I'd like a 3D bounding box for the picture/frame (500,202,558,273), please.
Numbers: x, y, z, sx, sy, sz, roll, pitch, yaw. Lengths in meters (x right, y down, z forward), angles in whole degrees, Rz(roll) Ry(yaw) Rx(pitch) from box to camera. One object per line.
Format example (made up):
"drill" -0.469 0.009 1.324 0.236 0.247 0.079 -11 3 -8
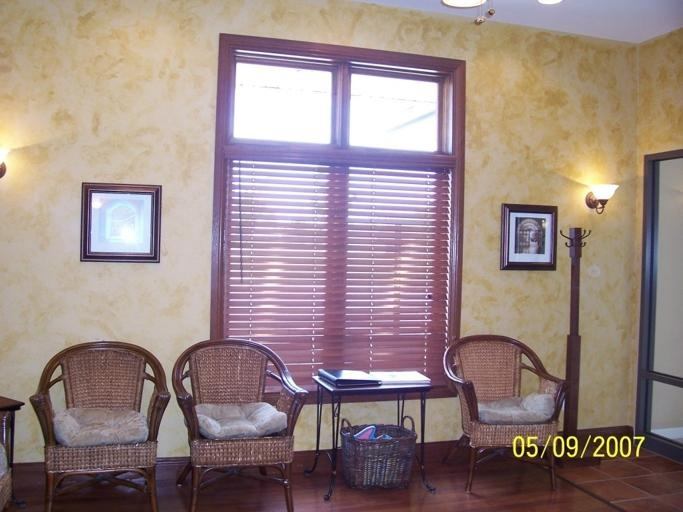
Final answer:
"picture/frame" 1.696 -0.176 5.313 0.672 0.677 0.053 1 0 -20

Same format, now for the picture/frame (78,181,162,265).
"picture/frame" -1.791 -0.269 4.580 0.686 0.661 0.051 1 -2 -14

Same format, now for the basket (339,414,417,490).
"basket" 0.252 1.560 4.652 0.607 0.509 0.455 6 -6 -24

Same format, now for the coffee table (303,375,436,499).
"coffee table" 0.200 1.433 4.688 0.889 0.844 0.751 4 -7 -18

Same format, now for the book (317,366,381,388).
"book" 0.050 0.952 4.537 0.523 0.080 0.344 6 10 22

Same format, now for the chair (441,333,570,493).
"chair" 1.331 1.240 4.793 1.044 1.095 1.034 3 -2 -40

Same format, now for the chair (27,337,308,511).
"chair" -1.240 1.265 4.311 1.852 1.138 0.941 1 10 -8

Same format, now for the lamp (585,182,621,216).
"lamp" 2.402 -0.536 5.392 0.255 0.240 0.287 2 -3 -8
